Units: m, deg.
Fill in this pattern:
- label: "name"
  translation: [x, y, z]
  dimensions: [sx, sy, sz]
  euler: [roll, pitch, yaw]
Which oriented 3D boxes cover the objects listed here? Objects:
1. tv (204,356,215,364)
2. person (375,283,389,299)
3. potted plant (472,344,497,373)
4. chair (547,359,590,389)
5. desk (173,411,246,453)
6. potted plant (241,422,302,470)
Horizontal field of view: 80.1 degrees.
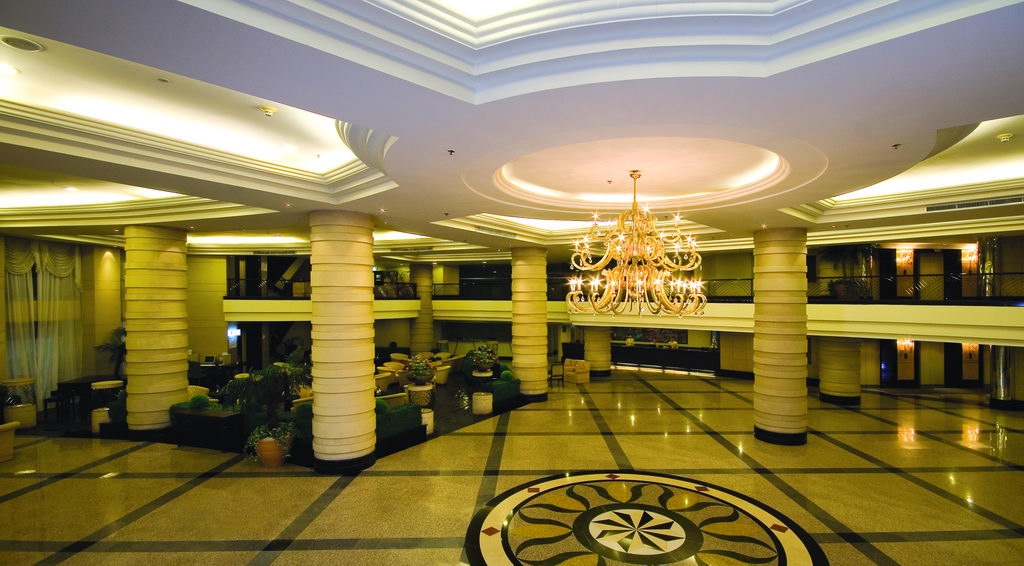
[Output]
- label: "tv"
  translation: [-12.820, 3.249, 25.868]
  dimensions: [0.611, 0.249, 0.360]
  euler: [4, -12, -17]
- label: "person"
  translation: [-5.757, 0.354, 27.157]
  dimensions: [0.662, 0.623, 1.226]
  euler: [-1, 0, -11]
- label: "potted plant"
  translation: [-1.161, 3.264, 25.829]
  dimensions: [1.125, 0.912, 1.135]
  euler: [7, -5, -44]
- label: "chair"
  translation: [2.579, 4.131, 26.587]
  dimensions: [1.155, 0.903, 2.080]
  euler: [7, -10, -30]
- label: "desk"
  translation: [-9.022, 4.382, 18.183]
  dimensions: [2.075, 1.173, 0.681]
  euler: [-1, -1, 6]
- label: "potted plant"
  translation: [-7.063, 4.605, 17.572]
  dimensions: [1.477, 0.975, 1.351]
  euler: [-2, -6, 26]
